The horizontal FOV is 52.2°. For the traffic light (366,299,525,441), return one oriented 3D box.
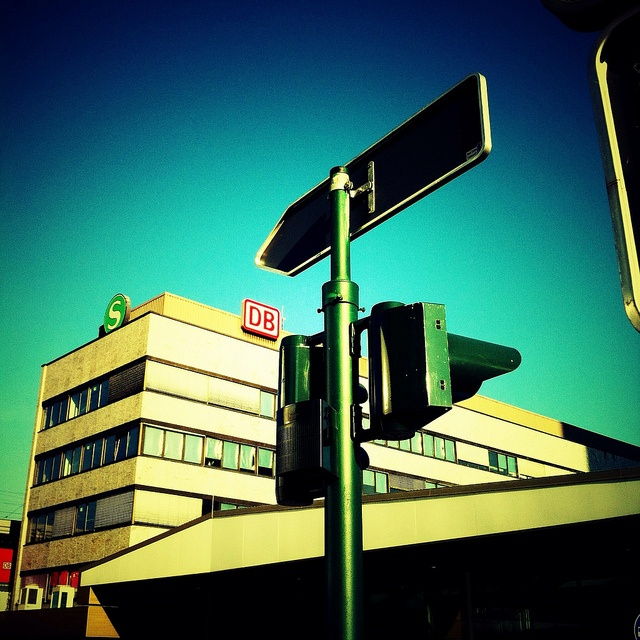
[{"bbox_3d":[0.536,0.319,3.148,0.719,0.840,0.515,8,-15,-27],"label":"traffic light"}]
